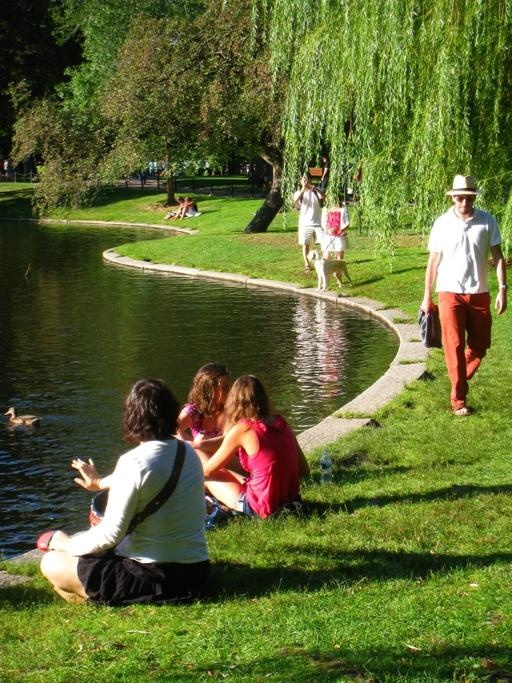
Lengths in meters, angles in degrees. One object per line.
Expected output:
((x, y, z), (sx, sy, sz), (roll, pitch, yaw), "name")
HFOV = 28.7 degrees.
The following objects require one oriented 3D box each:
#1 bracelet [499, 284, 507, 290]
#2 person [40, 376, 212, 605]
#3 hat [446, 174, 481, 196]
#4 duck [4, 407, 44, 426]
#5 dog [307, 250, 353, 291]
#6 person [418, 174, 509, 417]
((2.133, -0.463, 8.607), (0.054, 0.040, 0.059), (6, 4, 39), "bracelet")
((-0.611, 0.760, 5.067), (0.749, 1.131, 0.889), (-1, 0, 33), "person")
((1.797, -1.340, 8.642), (0.250, 0.129, 0.332), (1, 0, 3), "hat")
((-2.258, 0.716, 9.648), (0.402, 0.258, 0.157), (2, -6, 21), "duck")
((1.438, -1.396, 18.932), (0.742, 0.746, 1.747), (0, 11, 6), "dog")
((1.823, -0.327, 8.781), (0.715, 1.961, 0.496), (-1, 10, 5), "person")
